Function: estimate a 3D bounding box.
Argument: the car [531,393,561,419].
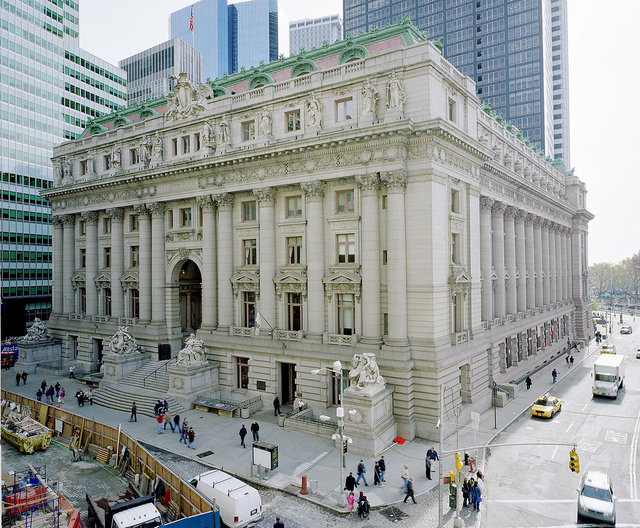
[{"bbox_3d":[22.557,14.444,60.019,1.920,1.957,3.401,-6,-7,42],"label":"car"}]

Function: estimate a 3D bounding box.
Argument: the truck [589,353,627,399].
[{"bbox_3d":[31.399,12.809,65.590,2.403,3.703,7.068,-1,-1,35],"label":"truck"}]

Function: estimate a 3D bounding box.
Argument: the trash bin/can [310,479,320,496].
[{"bbox_3d":[-0.376,17.267,46.182,0.838,0.952,0.889,-3,5,-29],"label":"trash bin/can"}]
